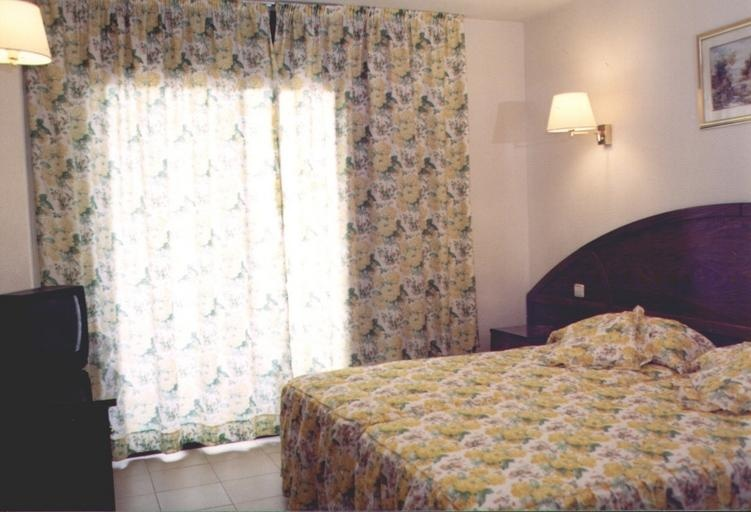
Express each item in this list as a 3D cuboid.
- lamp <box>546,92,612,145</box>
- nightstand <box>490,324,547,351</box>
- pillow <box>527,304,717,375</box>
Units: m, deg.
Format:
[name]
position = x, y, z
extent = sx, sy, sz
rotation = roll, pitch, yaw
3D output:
[lamp]
position = 1.730, -1.168, 4.897
extent = 0.568, 0.427, 0.389
rotation = 3, -6, -37
[nightstand]
position = 1.347, 0.747, 5.324
extent = 0.457, 0.304, 0.249
rotation = -2, 10, -8
[pillow]
position = 1.777, 0.624, 4.151
extent = 0.630, 0.218, 0.628
rotation = -18, 15, -25
